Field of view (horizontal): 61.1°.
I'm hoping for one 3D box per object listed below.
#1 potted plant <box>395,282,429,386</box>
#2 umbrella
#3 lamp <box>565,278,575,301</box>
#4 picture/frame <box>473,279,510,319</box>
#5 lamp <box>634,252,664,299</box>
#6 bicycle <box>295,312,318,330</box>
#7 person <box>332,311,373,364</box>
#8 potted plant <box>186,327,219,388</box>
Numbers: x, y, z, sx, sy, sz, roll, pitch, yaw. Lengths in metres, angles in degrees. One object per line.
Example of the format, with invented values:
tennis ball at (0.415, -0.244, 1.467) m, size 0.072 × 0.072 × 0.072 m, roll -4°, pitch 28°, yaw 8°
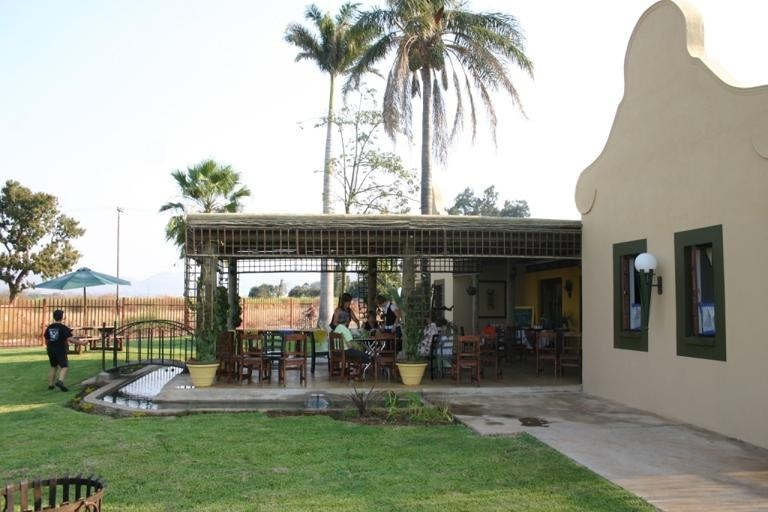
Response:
potted plant at (0.716, 1.947, 15.937) m, size 0.776 × 2.359 × 1.158 m, roll 0°, pitch 5°, yaw 4°
umbrella at (-14.440, 1.949, 30.758) m, size 3.459 × 2.693 × 3.589 m, roll -4°, pitch -3°, yaw 37°
lamp at (6.132, 1.072, 21.425) m, size 0.170 × 0.682 × 0.569 m, roll -1°, pitch 5°, yaw -6°
picture/frame at (3.975, 1.580, 23.939) m, size 1.205 × 1.407 × 0.313 m, roll 0°, pitch -1°, yaw -3°
lamp at (5.546, 0.406, 13.565) m, size 0.485 × 1.073 × 0.455 m, roll 3°, pitch -12°, yaw 21°
bicycle at (-4.112, 3.446, 35.401) m, size 1.356 × 1.531 × 0.993 m, roll 3°, pitch -5°, yaw -9°
person at (-0.779, 2.043, 16.024) m, size 0.985 × 1.391 × 0.782 m, roll -1°, pitch 5°, yaw -6°
potted plant at (-4.239, 2.421, 15.439) m, size 0.670 × 1.356 × 0.888 m, roll 1°, pitch 6°, yaw 12°
